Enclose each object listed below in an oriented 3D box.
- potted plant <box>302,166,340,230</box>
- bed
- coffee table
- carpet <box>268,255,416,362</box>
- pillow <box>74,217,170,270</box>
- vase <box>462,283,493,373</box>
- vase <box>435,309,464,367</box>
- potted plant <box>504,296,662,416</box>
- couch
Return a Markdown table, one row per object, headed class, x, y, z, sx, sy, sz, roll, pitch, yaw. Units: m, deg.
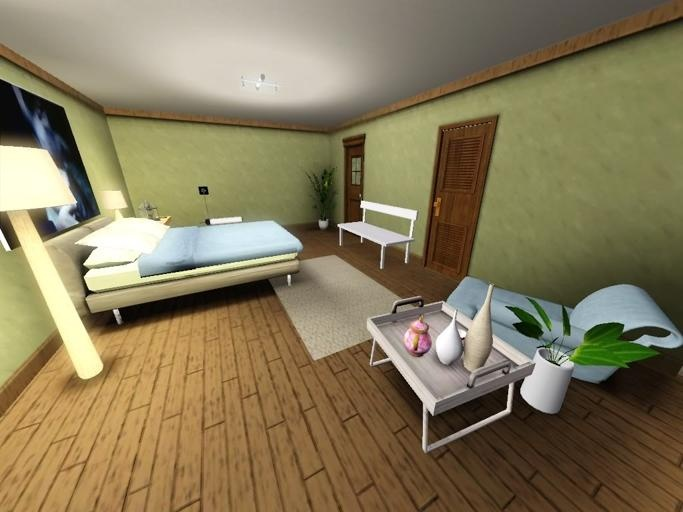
| class | x | y | z | sx | sy | sz | roll | pitch | yaw |
| --- | --- | --- | --- | --- | --- | --- | --- | --- | --- |
| potted plant | -0.376 | -1.245 | 8.749 | 0.472 | 1.357 | 0.577 | 12 | 26 | 36 |
| bed | -1.815 | 0.103 | 4.807 | 1.805 | 0.479 | 1.246 | -9 | 25 | -25 |
| coffee table | 0.980 | 0.993 | 3.628 | 1.155 | 1.059 | 0.945 | -11 | 21 | -19 |
| carpet | -0.077 | 0.592 | 4.882 | 0.915 | 0.012 | 1.659 | -10 | 22 | -24 |
| pillow | -2.539 | -0.132 | 4.497 | 0.599 | 0.248 | 0.983 | -3 | 16 | -10 |
| vase | 1.137 | 0.621 | 3.283 | 0.214 | 0.760 | 0.387 | 12 | 26 | 35 |
| vase | 0.957 | 0.711 | 3.487 | 0.249 | 0.422 | 0.348 | 3 | 21 | 16 |
| potted plant | 2.010 | 0.866 | 3.615 | 1.125 | 0.789 | 1.124 | -6 | 17 | -17 |
| couch | 2.021 | 0.766 | 3.713 | 1.967 | 0.761 | 1.037 | 7 | 22 | -4 |
